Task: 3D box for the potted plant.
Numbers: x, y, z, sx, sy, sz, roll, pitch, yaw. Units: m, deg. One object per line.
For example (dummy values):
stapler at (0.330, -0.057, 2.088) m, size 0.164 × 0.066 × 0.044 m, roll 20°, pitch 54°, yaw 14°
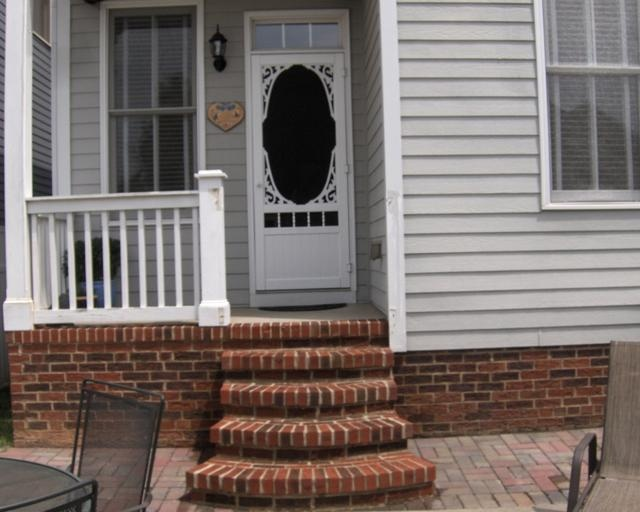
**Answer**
potted plant at (-2.154, 0.152, 9.250) m, size 0.549 × 0.658 × 0.610 m, roll -1°, pitch 2°, yaw -11°
